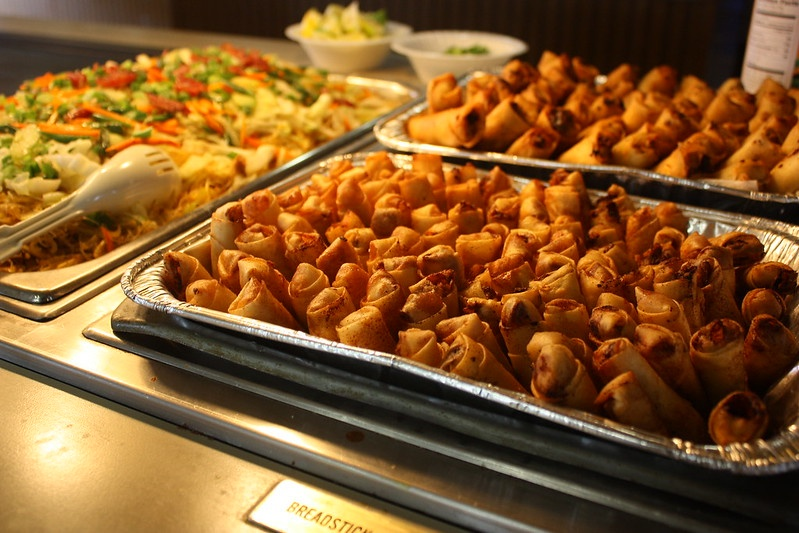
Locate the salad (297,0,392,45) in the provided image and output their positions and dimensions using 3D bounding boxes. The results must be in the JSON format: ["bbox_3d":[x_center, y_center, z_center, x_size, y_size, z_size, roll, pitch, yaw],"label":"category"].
[{"bbox_3d":[-0.178,-0.885,2.271,0.278,0.105,0.276,-23,32,-36],"label":"salad"}]
